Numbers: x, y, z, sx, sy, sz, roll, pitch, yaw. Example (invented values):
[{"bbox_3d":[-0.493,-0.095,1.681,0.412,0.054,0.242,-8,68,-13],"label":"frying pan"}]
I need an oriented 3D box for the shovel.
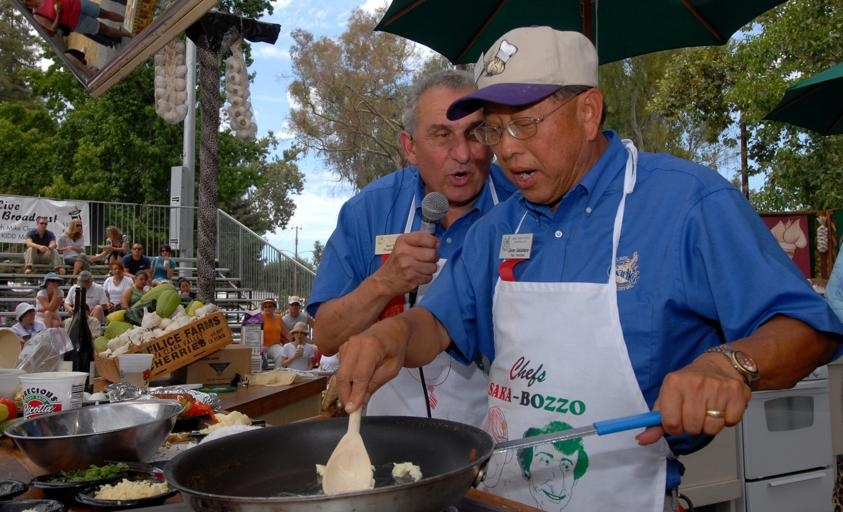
[{"bbox_3d":[-0.351,0.911,3.281,0.176,0.437,0.161,3,0,20],"label":"shovel"}]

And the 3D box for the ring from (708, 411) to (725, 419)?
[{"bbox_3d":[1.327,0.717,3.156,0.075,0.036,0.010,0,-4,2],"label":"ring"}]

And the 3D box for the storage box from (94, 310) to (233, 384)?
[{"bbox_3d":[-1.806,0.597,4.911,0.909,0.500,0.249,-3,-2,37],"label":"storage box"}]

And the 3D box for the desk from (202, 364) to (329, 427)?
[{"bbox_3d":[-1.074,1.077,5.203,0.274,0.325,0.865,7,7,31],"label":"desk"}]

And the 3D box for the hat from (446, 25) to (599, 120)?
[{"bbox_3d":[0.578,-1.059,3.905,0.693,0.491,0.951,-4,8,30],"label":"hat"}]

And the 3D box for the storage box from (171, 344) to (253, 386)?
[{"bbox_3d":[-1.524,0.827,5.170,0.488,0.253,0.264,-21,16,-27],"label":"storage box"}]

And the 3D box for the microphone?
[{"bbox_3d":[0.041,-0.130,3.965,0.184,0.816,0.197,-1,0,-6],"label":"microphone"}]

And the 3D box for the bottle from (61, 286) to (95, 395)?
[{"bbox_3d":[-2.297,0.550,4.605,0.258,1.082,0.256,1,0,0],"label":"bottle"}]
